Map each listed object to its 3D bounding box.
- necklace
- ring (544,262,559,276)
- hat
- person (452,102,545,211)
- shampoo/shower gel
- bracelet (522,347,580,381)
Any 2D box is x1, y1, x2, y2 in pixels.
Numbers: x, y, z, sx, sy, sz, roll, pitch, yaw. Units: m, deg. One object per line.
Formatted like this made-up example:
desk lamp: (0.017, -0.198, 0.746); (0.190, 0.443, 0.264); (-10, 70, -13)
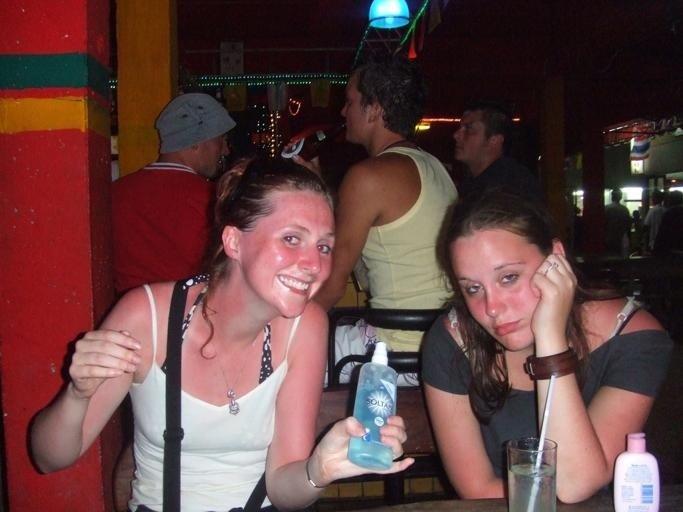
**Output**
necklace: (-0.430, 0.478, 2.371); (0.107, 0.306, 0.027); (0, -41, -21)
ring: (0.815, 0.048, 2.371); (0.018, 0.051, 0.041); (12, -29, 47)
hat: (-0.945, -0.864, 3.889); (0.430, 0.273, 0.424); (6, 27, 29)
person: (1.286, -0.820, 4.934); (0.734, 0.828, 1.093); (5, 8, -10)
shampoo/shower gel: (0.115, 0.511, 2.050); (0.181, 0.435, 0.144); (0, 3, -13)
bracelet: (0.791, 0.412, 2.290); (0.130, 0.067, 0.151); (-15, -5, 20)
